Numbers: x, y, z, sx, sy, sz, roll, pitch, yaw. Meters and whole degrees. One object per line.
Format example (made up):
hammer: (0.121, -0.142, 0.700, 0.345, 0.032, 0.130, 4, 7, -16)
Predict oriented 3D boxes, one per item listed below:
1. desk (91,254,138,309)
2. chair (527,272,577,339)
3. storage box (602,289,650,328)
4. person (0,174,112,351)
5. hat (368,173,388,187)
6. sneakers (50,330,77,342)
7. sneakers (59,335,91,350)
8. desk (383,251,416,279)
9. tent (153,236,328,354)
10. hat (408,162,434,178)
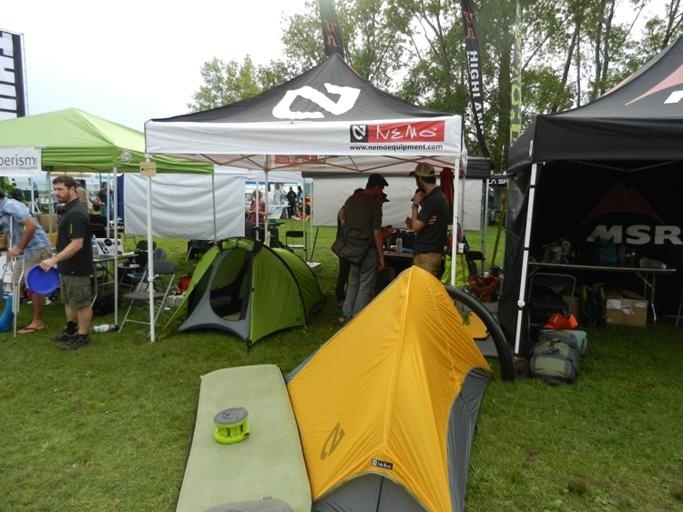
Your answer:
desk: (-3.964, 0.459, 8.681, 0.426, 0.426, 0.839, 2, 7, 8)
chair: (2.802, 0.680, 6.730, 0.606, 1.153, 0.739, 2, 15, 17)
storage box: (4.448, 0.848, 7.814, 0.503, 0.399, 0.532, 0, 6, 17)
person: (-3.668, 0.085, 6.612, 0.609, 2.264, 0.541, -3, 9, -33)
hat: (0.534, -1.160, 7.621, 0.197, 0.167, 0.275, 12, 19, 39)
sneakers: (-3.819, 1.096, 6.860, 0.373, 0.165, 0.140, -1, 0, -6)
sneakers: (-3.594, 1.157, 6.683, 0.332, 0.140, 0.181, -3, 21, -35)
desk: (1.031, 0.132, 9.000, 0.462, 0.324, 0.486, 1, 2, 26)
tent: (-1.257, 0.474, 7.680, 1.476, 0.979, 1.793, 5, 15, 24)
hat: (1.088, -1.145, 6.915, 0.241, 0.212, 0.361, -13, 22, -35)
